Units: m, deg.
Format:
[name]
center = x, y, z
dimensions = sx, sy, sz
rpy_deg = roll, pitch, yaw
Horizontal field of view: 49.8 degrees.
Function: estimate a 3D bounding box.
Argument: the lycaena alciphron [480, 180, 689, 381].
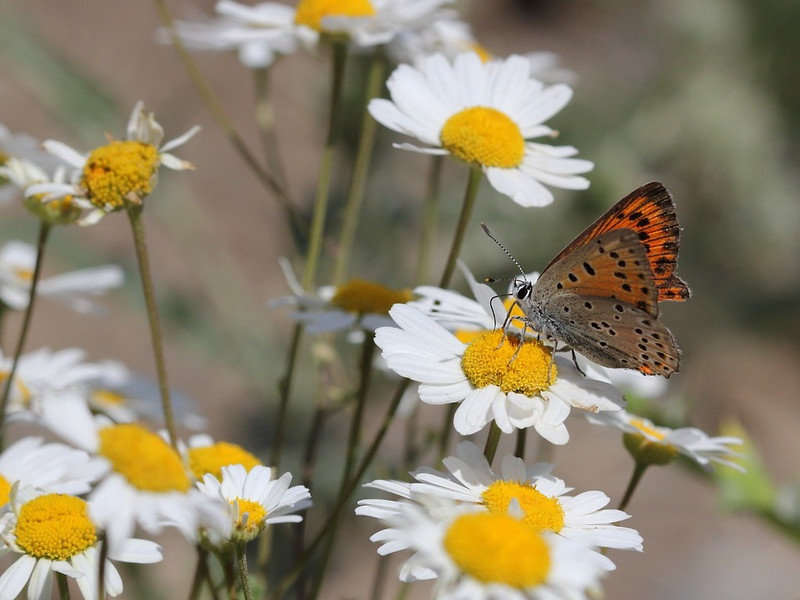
[lycaena alciphron]
center = 0.417, -0.014, 1.966
dimensions = 0.411, 0.460, 0.346
rpy_deg = 16, 86, -1
